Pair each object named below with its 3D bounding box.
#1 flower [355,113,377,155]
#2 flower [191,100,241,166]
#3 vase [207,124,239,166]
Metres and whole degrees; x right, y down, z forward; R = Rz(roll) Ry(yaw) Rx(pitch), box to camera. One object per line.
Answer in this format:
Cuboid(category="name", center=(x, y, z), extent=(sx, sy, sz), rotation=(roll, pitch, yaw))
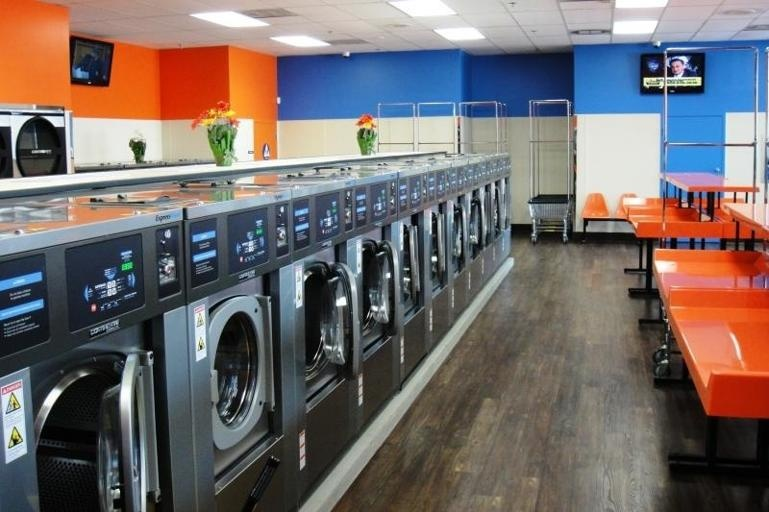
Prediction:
Cuboid(category="flower", center=(-0.205, -1.394, 6.096), extent=(0.195, 0.465, 0.542), rotation=(-2, 11, -2))
Cuboid(category="flower", center=(-1.172, -0.842, 3.729), extent=(0.339, 0.402, 0.327), rotation=(-10, 10, -37))
Cuboid(category="vase", center=(-1.149, -0.770, 3.726), extent=(0.222, 0.279, 0.223), rotation=(-6, -2, -43))
